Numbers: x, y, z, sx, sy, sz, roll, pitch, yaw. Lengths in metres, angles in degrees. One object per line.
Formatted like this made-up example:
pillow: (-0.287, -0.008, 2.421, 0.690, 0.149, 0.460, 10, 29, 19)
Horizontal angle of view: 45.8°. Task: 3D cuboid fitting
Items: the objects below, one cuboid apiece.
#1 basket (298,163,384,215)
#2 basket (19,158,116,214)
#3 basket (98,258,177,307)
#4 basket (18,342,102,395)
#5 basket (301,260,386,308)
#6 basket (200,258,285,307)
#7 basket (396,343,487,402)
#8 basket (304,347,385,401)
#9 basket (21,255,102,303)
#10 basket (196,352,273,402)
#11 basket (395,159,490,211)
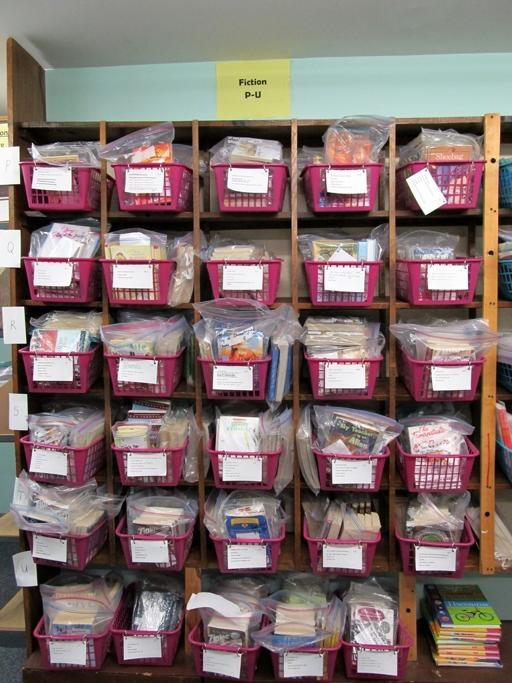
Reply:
basket: (0.307, -0.550, 2.199, 0.225, 0.114, 0.177, -1, 11, -1)
basket: (-0.718, -0.544, 2.233, 0.199, 0.140, 0.290, 1, 5, 2)
basket: (-0.429, -0.214, 2.195, 0.227, 0.134, 0.158, 1, 20, -1)
basket: (-0.736, 0.103, 2.265, 0.249, 0.116, 0.168, 0, 12, -4)
basket: (0.303, -0.217, 2.179, 0.222, 0.120, 0.169, 0, 19, 0)
basket: (-0.042, -0.219, 2.237, 0.225, 0.120, 0.171, 0, 10, 1)
basket: (0.674, 0.138, 2.249, 0.267, 0.220, 0.244, -2, 10, 4)
basket: (0.320, 0.115, 2.212, 0.220, 0.118, 0.174, 0, 15, 1)
basket: (-0.716, -0.226, 2.226, 0.225, 0.134, 0.183, 0, 15, -4)
basket: (-0.069, 0.128, 2.185, 0.216, 0.129, 0.157, 0, 32, 0)
basket: (0.684, -0.571, 2.259, 0.313, 0.176, 0.271, 0, 10, 12)
